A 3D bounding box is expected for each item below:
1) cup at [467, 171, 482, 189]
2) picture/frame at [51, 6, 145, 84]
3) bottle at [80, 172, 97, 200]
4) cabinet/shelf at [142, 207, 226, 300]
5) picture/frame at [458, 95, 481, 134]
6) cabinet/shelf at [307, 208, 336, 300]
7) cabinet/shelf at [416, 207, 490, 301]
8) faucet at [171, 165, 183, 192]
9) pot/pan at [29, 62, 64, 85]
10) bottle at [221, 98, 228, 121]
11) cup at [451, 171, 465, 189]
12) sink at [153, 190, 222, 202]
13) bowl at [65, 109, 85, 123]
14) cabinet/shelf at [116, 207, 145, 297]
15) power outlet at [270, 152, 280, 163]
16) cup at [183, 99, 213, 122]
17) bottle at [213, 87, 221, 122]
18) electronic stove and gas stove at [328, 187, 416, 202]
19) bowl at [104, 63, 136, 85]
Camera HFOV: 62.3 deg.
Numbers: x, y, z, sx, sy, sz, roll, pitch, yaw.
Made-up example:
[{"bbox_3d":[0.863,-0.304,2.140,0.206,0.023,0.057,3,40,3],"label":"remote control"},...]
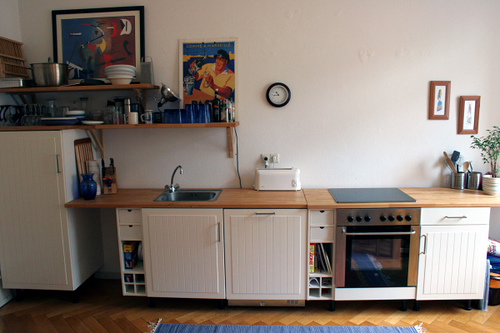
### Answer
[{"bbox_3d":[2.598,0.167,4.779,0.183,0.176,0.149,3,5,34],"label":"cup"},{"bbox_3d":[-1.747,-1.460,4.832,1.020,0.713,0.039,-1,4,4],"label":"picture/frame"},{"bbox_3d":[-1.816,0.220,4.655,0.175,0.287,0.194,-3,7,-19],"label":"bottle"},{"bbox_3d":[-0.647,0.959,4.789,0.953,1.003,0.668,-3,-1,17],"label":"cabinet/shelf"},{"bbox_3d":[2.558,-0.596,4.827,0.250,0.449,0.052,-2,7,-7],"label":"picture/frame"},{"bbox_3d":[0.780,0.945,4.533,0.296,0.996,0.233,0,7,7],"label":"cabinet/shelf"},{"bbox_3d":[2.436,1.047,4.628,0.894,1.091,0.827,-7,-26,42],"label":"cabinet/shelf"},{"bbox_3d":[-0.857,0.137,4.847,0.166,0.301,0.318,-2,6,-8],"label":"faucet"},{"bbox_3d":[-2.266,-1.036,4.638,0.324,0.204,0.284,-1,8,-3],"label":"pot/pan"},{"bbox_3d":[-0.286,-0.627,4.668,0.076,0.238,0.115,-2,7,-5],"label":"bottle"},{"bbox_3d":[2.443,0.162,4.822,0.159,0.203,0.077,1,7,21],"label":"cup"},{"bbox_3d":[-0.688,0.347,4.703,0.737,0.120,0.389,-1,6,-3],"label":"sink"},{"bbox_3d":[-1.992,-0.575,4.759,0.148,0.099,0.148,0,8,0],"label":"bowl"},{"bbox_3d":[-1.310,0.931,4.652,0.288,0.996,0.291,-2,7,-6],"label":"cabinet/shelf"},{"bbox_3d":[0.296,-0.116,4.912,0.128,0.112,0.030,3,1,2],"label":"power outlet"},{"bbox_3d":[-0.585,-0.612,4.669,0.322,0.232,0.150,-1,6,-4],"label":"cup"},{"bbox_3d":[-0.371,-0.689,4.701,0.086,0.353,0.143,-1,7,-4],"label":"bottle"},{"bbox_3d":[1.346,0.321,4.602,0.883,0.080,0.527,0,6,4],"label":"electronic stove and gas stove"},{"bbox_3d":[-1.473,-1.037,4.681,0.260,0.144,0.252,0,6,0],"label":"bowl"}]
